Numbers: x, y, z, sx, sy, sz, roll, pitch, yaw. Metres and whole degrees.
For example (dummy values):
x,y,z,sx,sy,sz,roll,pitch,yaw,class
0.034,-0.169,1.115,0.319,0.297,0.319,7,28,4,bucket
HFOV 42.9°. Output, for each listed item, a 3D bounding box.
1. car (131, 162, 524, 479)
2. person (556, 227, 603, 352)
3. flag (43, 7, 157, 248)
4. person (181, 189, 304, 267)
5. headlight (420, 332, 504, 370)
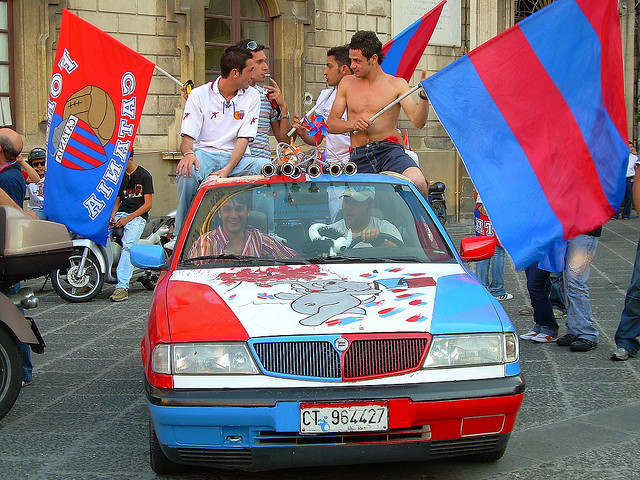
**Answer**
x,y,z,sx,sy,sz,roll,pitch,yaw,class
0.040,0.542,5.111,1.633,1.199,2.515,-1,4,-6,car
2.523,0.453,7.790,0.373,1.202,0.336,2,8,19,person
-2.759,-1.362,9.938,1.376,2.827,0.293,1,7,11,flag
-0.598,-0.059,5.962,0.892,0.628,0.500,-7,-7,-16,person
0.927,0.677,4.976,0.589,0.063,0.256,-4,45,11,headlight
